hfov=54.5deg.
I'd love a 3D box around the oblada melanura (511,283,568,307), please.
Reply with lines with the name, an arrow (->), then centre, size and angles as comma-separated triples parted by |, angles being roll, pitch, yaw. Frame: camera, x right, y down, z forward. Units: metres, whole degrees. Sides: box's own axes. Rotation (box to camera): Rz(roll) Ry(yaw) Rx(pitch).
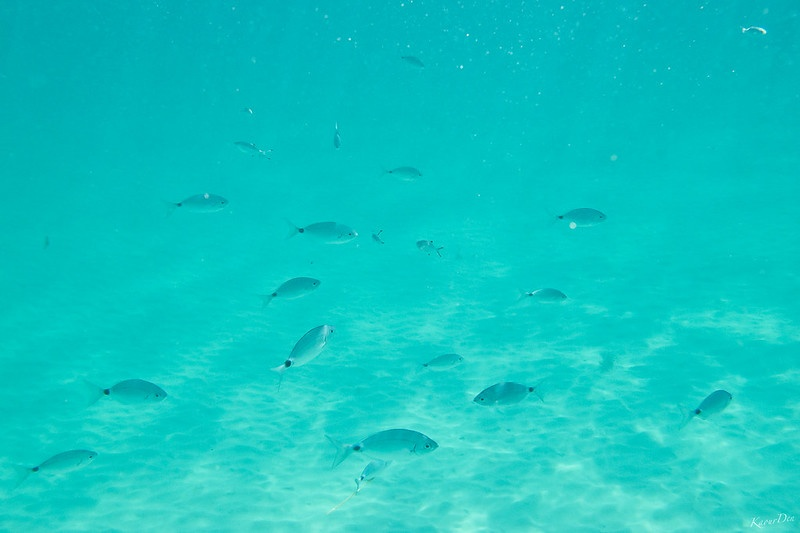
oblada melanura -> 4.650, 0.969, 25.926 | 2.223, 0.703, 0.381 | 3, 35, 5

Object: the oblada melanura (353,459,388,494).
oblada melanura -> -0.761, 5.785, 21.318 | 0.220, 1.299, 0.533 | 49, 5, -1

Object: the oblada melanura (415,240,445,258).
oblada melanura -> 1.077, -0.632, 28.560 | 1.396, 0.578, 0.368 | 11, 54, -48
